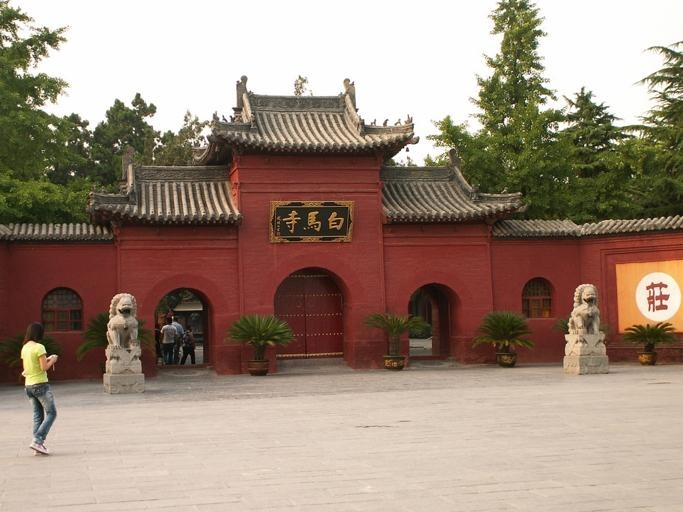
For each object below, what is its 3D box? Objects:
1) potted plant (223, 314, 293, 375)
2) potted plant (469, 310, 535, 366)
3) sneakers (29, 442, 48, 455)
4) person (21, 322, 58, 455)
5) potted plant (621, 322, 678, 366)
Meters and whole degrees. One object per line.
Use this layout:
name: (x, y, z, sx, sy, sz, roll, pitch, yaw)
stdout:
potted plant: (-1.895, 2.103, 20.170, 1.505, 1.272, 1.481, 0, 2, -3)
potted plant: (4.135, 2.054, 21.329, 1.434, 1.212, 1.447, -6, -12, 37)
sneakers: (-3.861, 2.475, 10.824, 0.213, 0.173, 0.288, 2, -7, -20)
person: (-4.006, 1.732, 11.188, 0.444, 1.705, 0.910, 2, -7, -21)
potted plant: (7.560, 2.123, 20.632, 1.129, 0.840, 1.118, -1, -9, 9)
